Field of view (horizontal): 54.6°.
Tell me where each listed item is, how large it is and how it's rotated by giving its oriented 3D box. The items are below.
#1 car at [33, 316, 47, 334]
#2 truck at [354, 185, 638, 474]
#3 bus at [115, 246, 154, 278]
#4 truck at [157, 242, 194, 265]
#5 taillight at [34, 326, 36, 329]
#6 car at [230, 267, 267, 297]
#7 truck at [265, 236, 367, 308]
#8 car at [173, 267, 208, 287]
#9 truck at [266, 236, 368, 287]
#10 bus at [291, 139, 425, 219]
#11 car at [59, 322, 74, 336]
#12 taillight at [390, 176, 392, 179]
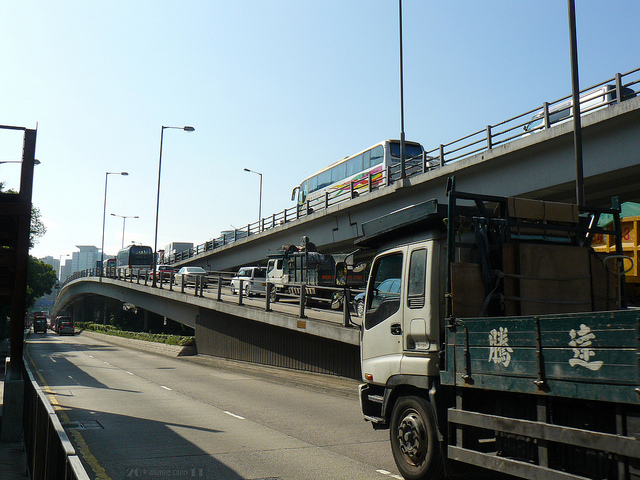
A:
[{"bbox_3d":[-34.220,10.395,75.934,1.396,1.457,2.371,1,-4,-24],"label":"car"},{"bbox_3d":[3.059,1.360,9.267,2.895,3.245,5.067,4,-6,-33],"label":"truck"},{"bbox_3d":[-17.172,2.065,58.044,1.886,2.571,5.152,5,-15,-27],"label":"bus"},{"bbox_3d":[-17.180,1.708,73.380,1.288,1.897,2.335,-11,-10,36],"label":"truck"},{"bbox_3d":[-34.682,10.669,75.531,0.096,0.335,0.536,-11,3,-36],"label":"taillight"},{"bbox_3d":[-3.926,2.282,33.556,1.378,1.439,2.490,4,-2,-30],"label":"car"},{"bbox_3d":[0.505,1.370,28.305,3.442,3.696,4.998,0,-2,-15],"label":"truck"},{"bbox_3d":[-8.528,2.442,40.765,1.359,1.222,3.370,2,-3,-27],"label":"car"},{"bbox_3d":[-0.349,1.258,28.340,2.237,2.943,6.072,2,-3,-31],"label":"truck"},{"bbox_3d":[1.847,-3.400,39.058,2.938,3.932,12.361,2,-6,-24],"label":"bus"},{"bbox_3d":[-28.368,9.975,69.416,2.124,1.605,1.113,-7,4,45],"label":"car"},{"bbox_3d":[3.573,-3.199,31.382,0.038,0.124,0.084,2,-6,-10],"label":"taillight"}]
